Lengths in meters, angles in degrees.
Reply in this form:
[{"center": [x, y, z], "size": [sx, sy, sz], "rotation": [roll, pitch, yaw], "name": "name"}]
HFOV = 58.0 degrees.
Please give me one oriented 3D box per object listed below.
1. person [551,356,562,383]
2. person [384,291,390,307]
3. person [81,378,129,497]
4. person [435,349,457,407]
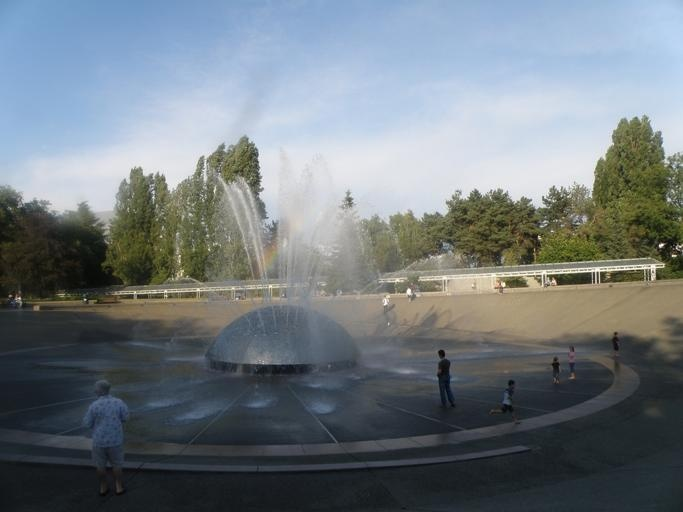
[{"center": [6.940, 3.621, 19.797], "size": [0.228, 0.823, 0.868], "rotation": [2, 7, 20], "name": "person"}, {"center": [3.415, 3.184, 45.778], "size": [0.446, 1.403, 0.549], "rotation": [-5, 4, -3], "name": "person"}, {"center": [-5.041, 3.879, 13.297], "size": [0.866, 2.447, 0.773], "rotation": [-2, 5, -21], "name": "person"}, {"center": [3.107, 3.385, 18.044], "size": [0.503, 1.581, 1.964], "rotation": [1, 7, 10], "name": "person"}]
